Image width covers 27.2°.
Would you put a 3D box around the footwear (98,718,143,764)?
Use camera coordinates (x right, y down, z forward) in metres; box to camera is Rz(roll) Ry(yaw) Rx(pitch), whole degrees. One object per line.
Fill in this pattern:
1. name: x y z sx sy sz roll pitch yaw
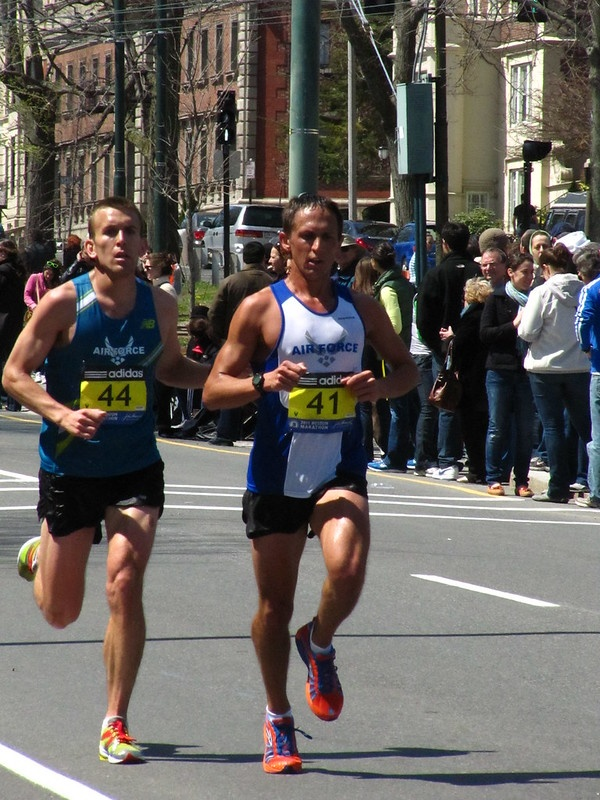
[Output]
1. footwear: -0.514 0.972 3.560 0.108 0.144 0.145 -1 5 -19

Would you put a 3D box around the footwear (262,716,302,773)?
1. footwear: -0.047 0.974 3.527 0.109 0.150 0.114 0 5 -2

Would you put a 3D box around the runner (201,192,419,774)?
1. runner: 0.042 0.209 3.711 0.625 1.640 0.571 0 5 -10

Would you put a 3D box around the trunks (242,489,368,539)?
1. trunks: -0.005 0.329 3.697 0.295 0.152 0.173 0 8 11
